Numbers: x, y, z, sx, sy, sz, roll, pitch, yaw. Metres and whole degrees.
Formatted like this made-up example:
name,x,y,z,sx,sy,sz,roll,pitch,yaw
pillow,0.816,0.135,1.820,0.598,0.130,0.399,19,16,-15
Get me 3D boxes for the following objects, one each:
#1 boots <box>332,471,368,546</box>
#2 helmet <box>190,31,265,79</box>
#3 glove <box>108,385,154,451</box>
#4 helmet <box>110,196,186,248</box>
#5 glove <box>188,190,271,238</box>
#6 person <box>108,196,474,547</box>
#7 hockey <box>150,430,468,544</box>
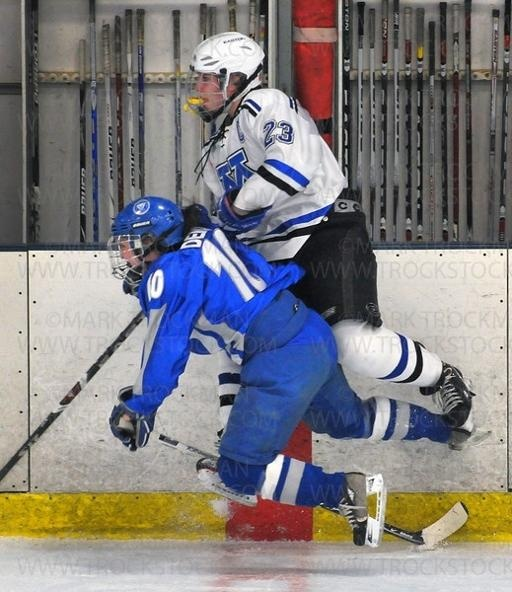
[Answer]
name,x,y,z,sx,sy,sz,roll,pitch,yaw
boots,0.344,0.767,5.840,0.098,0.261,0.109,-8,9,-21
helmet,-0.108,-0.888,6.052,0.197,0.183,0.163,3,17,0
glove,-0.442,0.458,5.872,0.133,0.243,0.093,7,7,7
helmet,-0.408,-0.200,5.974,0.280,0.300,0.242,0,-6,-3
glove,-0.098,-0.293,5.969,0.262,0.156,0.108,-27,14,23
person,0.070,0.255,5.924,1.246,1.250,0.645,-2,17,19
hockey,0.254,0.748,6.164,0.699,0.122,0.130,29,45,2
